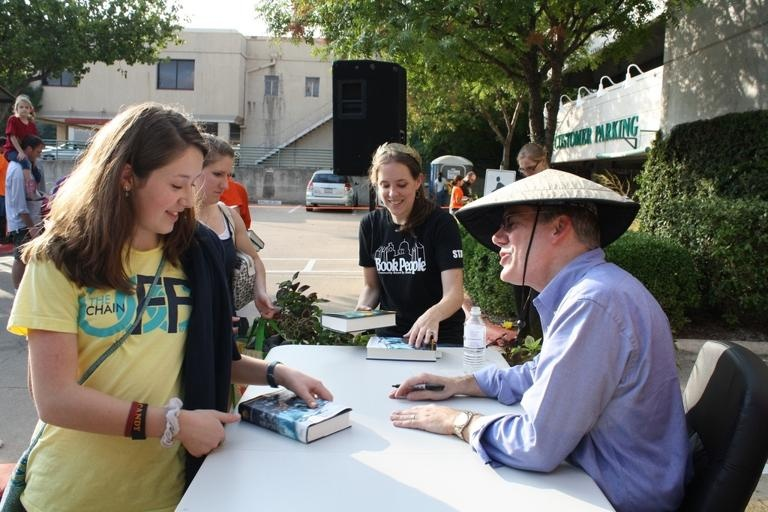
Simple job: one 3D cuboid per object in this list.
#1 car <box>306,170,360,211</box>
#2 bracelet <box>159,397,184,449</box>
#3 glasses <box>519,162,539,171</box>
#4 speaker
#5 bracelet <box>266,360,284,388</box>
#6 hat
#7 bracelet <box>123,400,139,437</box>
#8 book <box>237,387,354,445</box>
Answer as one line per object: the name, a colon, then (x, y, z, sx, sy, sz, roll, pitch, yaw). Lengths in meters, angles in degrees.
car: (-2.020, -2.491, 24.577, 1.805, 1.479, 3.201, 0, 15, 2)
bracelet: (-0.949, 0.764, 2.806, 0.073, 0.188, 0.136, 25, -35, -25)
glasses: (1.836, -1.103, 7.598, 0.131, 0.040, 0.125, -22, 10, -32)
speaker: (-0.197, -1.827, 7.937, 0.872, 1.564, 0.944, 6, 26, 13)
bracelet: (-0.578, 0.617, 3.181, 0.081, 0.132, 0.119, 2, 1, 15)
hat: (0.794, -0.263, 3.163, 0.590, 0.217, 0.607, 5, -17, -13)
bracelet: (-1.109, 0.726, 2.739, 0.043, 0.120, 0.106, 7, -24, -14)
book: (-0.439, 0.759, 2.945, 0.330, 0.080, 0.247, 8, 9, 38)
